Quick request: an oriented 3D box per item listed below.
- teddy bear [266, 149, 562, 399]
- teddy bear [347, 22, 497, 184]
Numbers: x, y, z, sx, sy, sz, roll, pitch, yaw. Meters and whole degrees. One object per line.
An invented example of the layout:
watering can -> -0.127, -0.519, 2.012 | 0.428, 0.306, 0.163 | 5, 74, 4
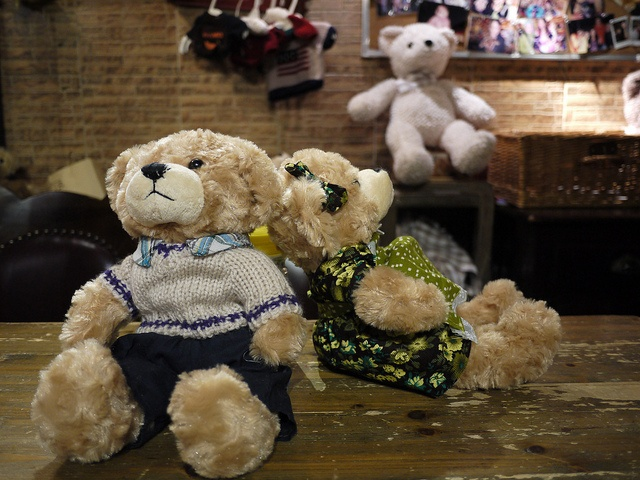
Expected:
teddy bear -> 0.241, 0.088, 2.493 | 0.805, 0.513, 0.589 | 0, 95, -7
teddy bear -> 0.400, -0.508, 3.249 | 0.508, 0.496, 0.511 | -23, 39, -35
